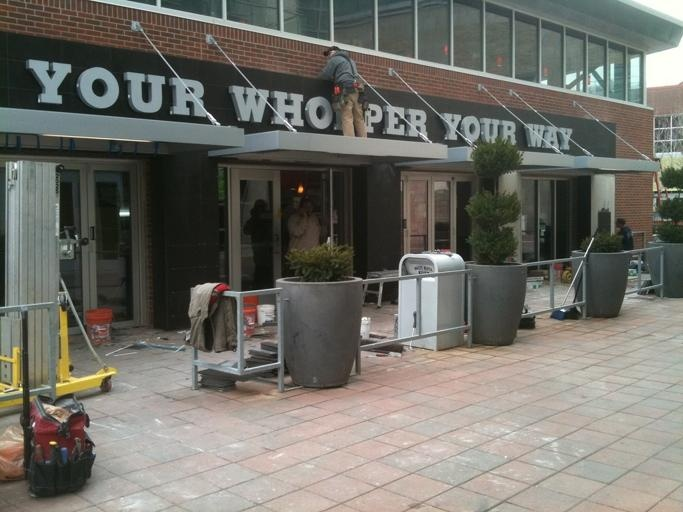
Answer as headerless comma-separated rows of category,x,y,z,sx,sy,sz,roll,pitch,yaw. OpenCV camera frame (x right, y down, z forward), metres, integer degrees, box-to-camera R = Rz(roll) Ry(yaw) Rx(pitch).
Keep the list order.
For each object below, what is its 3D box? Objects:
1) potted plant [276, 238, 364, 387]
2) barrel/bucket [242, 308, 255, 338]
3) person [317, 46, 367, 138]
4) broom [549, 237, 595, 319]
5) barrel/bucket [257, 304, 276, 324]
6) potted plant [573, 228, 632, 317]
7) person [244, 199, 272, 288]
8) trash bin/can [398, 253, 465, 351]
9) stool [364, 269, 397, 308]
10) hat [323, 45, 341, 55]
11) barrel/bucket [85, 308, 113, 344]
potted plant,-0.275,0.817,8.309,1.118,1.900,0.456,-1,7,-5
barrel/bucket,-1.692,1.228,11.727,0.188,0.451,0.478,-1,7,-4
person,0.089,-3.499,13.819,1.098,2.133,1.001,7,9,31
broom,4.862,0.377,13.010,0.782,2.007,0.469,2,-3,37
barrel/bucket,-1.390,1.097,11.696,0.346,0.358,0.336,1,3,0
potted plant,5.331,0.433,12.880,1.014,1.762,0.588,2,7,16
person,-1.786,-0.256,13.848,0.175,1.943,0.668,5,9,39
trash bin/can,1.399,0.721,10.537,0.969,1.646,1.058,-4,8,-36
stool,0.695,0.745,14.735,0.957,1.044,0.670,2,-1,-36
hat,-0.200,-4.453,13.637,0.305,0.156,0.217,8,10,17
barrel/bucket,-4.160,1.242,10.828,0.540,0.615,0.557,0,-2,0
